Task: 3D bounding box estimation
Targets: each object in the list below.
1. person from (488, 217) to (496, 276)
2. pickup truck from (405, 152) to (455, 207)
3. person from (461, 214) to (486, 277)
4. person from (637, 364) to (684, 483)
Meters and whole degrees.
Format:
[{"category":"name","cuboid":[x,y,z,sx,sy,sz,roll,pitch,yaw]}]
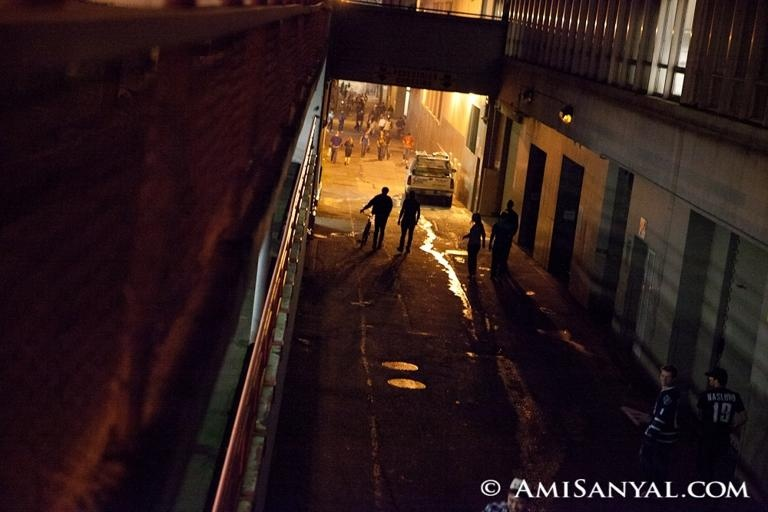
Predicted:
[{"category":"person","cuboid":[4.159,-0.342,19.808,0.260,1.847,1.232,5,15,6]},{"category":"pickup truck","cuboid":[2.832,-4.696,32.855,2.680,3.415,5.657,6,10,4]},{"category":"person","cuboid":[3.320,-0.466,19.449,0.568,2.323,1.245,7,15,13]},{"category":"person","cuboid":[4.421,2.722,8.323,0.509,2.097,0.320,1,14,-11]}]
